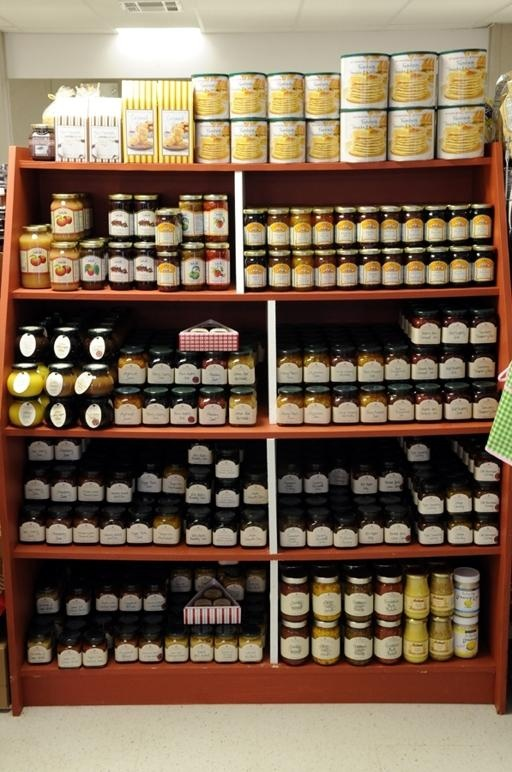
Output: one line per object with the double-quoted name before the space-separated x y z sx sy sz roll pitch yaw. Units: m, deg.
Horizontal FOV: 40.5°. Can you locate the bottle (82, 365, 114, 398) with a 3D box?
"bottle" -0.494 -0.025 2.193 0.100 0.089 0.098 -2 16 -11

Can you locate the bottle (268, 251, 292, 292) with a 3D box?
"bottle" 0.074 -0.364 2.179 0.070 0.124 0.047 0 6 0

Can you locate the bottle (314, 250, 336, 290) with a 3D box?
"bottle" 0.219 -0.367 2.181 0.067 0.124 0.033 1 6 8

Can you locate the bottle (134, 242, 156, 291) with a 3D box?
"bottle" -0.352 -0.379 2.192 0.069 0.145 0.060 -1 6 -8

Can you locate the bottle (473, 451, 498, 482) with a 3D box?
"bottle" 0.748 0.269 2.307 0.092 0.119 0.090 -1 7 0

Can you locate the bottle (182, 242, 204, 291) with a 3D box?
"bottle" -0.195 -0.374 2.170 0.076 0.142 0.045 -1 6 -6

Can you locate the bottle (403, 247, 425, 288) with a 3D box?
"bottle" 0.499 -0.372 2.181 0.068 0.125 0.040 1 6 14

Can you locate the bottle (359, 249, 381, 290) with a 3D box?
"bottle" 0.361 -0.371 2.181 0.069 0.127 0.035 1 6 8

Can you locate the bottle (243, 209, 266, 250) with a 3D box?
"bottle" -0.002 -0.496 2.237 0.103 0.156 0.102 0 8 0

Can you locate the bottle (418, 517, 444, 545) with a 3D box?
"bottle" 0.587 0.477 2.303 0.094 0.095 0.052 0 6 6

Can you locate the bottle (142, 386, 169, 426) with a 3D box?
"bottle" -0.316 0.066 2.277 0.113 0.137 0.102 0 8 -3

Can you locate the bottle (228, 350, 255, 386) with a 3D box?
"bottle" -0.048 -0.055 2.225 0.112 0.122 0.092 -1 6 2

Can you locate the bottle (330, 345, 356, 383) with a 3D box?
"bottle" 0.285 -0.070 2.249 0.077 0.130 0.056 -5 8 -37

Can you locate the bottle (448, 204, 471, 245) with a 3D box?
"bottle" 0.643 -0.512 2.195 0.067 0.120 0.048 1 6 12

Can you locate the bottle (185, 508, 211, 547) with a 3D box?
"bottle" -0.188 0.471 2.374 0.114 0.149 0.107 0 8 0

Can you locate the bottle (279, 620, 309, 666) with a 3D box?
"bottle" 0.130 0.850 2.321 0.102 0.160 0.072 0 6 3

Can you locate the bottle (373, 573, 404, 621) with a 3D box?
"bottle" 0.445 0.699 2.315 0.099 0.155 0.053 0 6 6

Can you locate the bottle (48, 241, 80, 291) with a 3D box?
"bottle" -0.599 -0.379 2.176 0.092 0.154 0.054 -2 6 -15

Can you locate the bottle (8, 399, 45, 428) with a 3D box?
"bottle" -0.725 0.086 2.182 0.095 0.084 0.093 -1 1 -40

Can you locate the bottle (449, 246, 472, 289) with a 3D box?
"bottle" 0.637 -0.376 2.168 0.060 0.121 0.033 0 6 6

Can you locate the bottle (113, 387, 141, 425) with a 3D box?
"bottle" -0.412 0.060 2.290 0.113 0.142 0.108 -1 8 0

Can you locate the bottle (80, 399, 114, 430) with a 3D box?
"bottle" -0.495 0.086 2.172 0.097 0.091 0.097 0 6 8

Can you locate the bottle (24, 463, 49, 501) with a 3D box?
"bottle" -0.732 0.317 2.352 0.104 0.137 0.102 0 6 0

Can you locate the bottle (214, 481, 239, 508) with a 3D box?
"bottle" -0.098 0.366 2.356 0.089 0.119 0.043 1 10 2

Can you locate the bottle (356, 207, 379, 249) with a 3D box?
"bottle" 0.355 -0.502 2.179 0.072 0.120 0.055 0 6 3

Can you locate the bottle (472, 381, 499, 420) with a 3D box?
"bottle" 0.734 0.050 2.214 0.086 0.127 0.051 1 6 14

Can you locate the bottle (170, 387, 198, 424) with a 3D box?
"bottle" -0.222 0.067 2.267 0.113 0.121 0.092 -1 7 7

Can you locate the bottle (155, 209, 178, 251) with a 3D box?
"bottle" -0.276 -0.488 2.153 0.076 0.124 0.071 0 6 0

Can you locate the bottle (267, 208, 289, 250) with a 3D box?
"bottle" 0.071 -0.493 2.172 0.069 0.123 0.038 0 6 1

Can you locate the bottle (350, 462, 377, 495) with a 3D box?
"bottle" 0.379 0.326 2.471 0.096 0.102 0.108 -1 3 -6

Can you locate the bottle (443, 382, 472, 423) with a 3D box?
"bottle" 0.647 0.049 2.291 0.112 0.148 0.106 -2 12 0

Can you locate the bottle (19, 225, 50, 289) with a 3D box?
"bottle" -0.702 -0.410 2.208 0.099 0.197 0.082 -2 6 -18

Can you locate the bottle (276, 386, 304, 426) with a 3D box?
"bottle" 0.111 0.062 2.275 0.113 0.142 0.106 -1 8 0

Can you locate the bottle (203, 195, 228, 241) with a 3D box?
"bottle" -0.128 -0.531 2.199 0.076 0.146 0.070 0 6 0

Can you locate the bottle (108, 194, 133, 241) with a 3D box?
"bottle" -0.426 -0.534 2.201 0.071 0.137 0.044 -1 6 -11

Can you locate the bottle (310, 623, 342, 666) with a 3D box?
"bottle" 0.233 0.853 2.318 0.094 0.152 0.040 0 6 3

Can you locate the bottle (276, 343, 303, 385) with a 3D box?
"bottle" 0.111 -0.068 2.296 0.109 0.145 0.104 -1 8 0

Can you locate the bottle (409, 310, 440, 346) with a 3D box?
"bottle" 0.535 -0.188 2.251 0.067 0.110 0.114 -5 8 -36

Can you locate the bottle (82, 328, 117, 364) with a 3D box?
"bottle" -0.495 -0.135 2.271 0.111 0.103 0.110 3 9 14

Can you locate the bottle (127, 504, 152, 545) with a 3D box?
"bottle" -0.389 0.470 2.324 0.067 0.129 0.062 0 6 0

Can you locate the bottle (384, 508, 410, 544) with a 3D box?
"bottle" 0.460 0.457 2.306 0.114 0.123 0.093 -1 7 3

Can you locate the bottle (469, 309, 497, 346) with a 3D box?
"bottle" 0.723 -0.191 2.262 0.103 0.137 0.102 -2 7 0

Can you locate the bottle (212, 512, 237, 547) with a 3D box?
"bottle" -0.094 0.470 2.305 0.108 0.119 0.090 0 7 -1

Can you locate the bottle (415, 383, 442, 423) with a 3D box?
"bottle" 0.553 0.054 2.290 0.112 0.147 0.111 -2 10 0

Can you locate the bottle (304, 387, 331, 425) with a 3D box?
"bottle" 0.196 0.062 2.278 0.109 0.143 0.108 -1 9 0

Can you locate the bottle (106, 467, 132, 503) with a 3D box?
"bottle" -0.462 0.342 2.422 0.101 0.134 0.105 1 9 0

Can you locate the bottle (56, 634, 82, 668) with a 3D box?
"bottle" -0.620 0.877 2.299 0.075 0.119 0.035 1 6 14

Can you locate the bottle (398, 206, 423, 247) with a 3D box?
"bottle" 0.501 -0.511 2.202 0.075 0.118 0.052 0 6 1

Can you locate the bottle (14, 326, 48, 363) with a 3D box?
"bottle" -0.723 -0.135 2.229 0.096 0.114 0.091 0 6 0

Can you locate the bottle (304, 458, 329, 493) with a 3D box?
"bottle" 0.209 0.324 2.493 0.107 0.116 0.087 -1 6 -2

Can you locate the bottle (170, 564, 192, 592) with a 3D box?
"bottle" -0.271 0.699 2.513 0.077 0.124 0.069 2 11 11

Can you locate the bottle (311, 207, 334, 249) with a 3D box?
"bottle" 0.212 -0.498 2.181 0.069 0.122 0.042 0 6 -1
